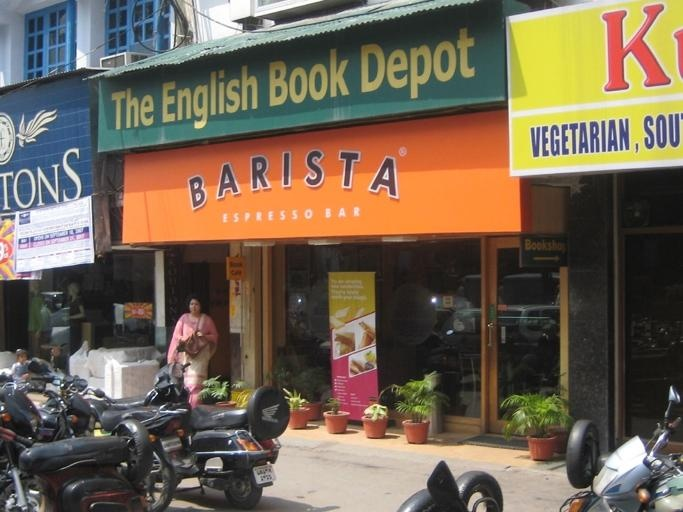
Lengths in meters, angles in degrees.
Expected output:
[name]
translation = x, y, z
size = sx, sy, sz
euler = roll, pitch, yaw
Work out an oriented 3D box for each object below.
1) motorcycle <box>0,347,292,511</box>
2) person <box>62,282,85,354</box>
[motorcycle]
translation = -1.617, 2.097, 8.870
size = 1.834, 1.596, 0.772
euler = 1, 6, 16
[person]
translation = -5.515, 1.254, 15.951
size = 0.332, 1.440, 0.464
euler = -2, 6, -21
